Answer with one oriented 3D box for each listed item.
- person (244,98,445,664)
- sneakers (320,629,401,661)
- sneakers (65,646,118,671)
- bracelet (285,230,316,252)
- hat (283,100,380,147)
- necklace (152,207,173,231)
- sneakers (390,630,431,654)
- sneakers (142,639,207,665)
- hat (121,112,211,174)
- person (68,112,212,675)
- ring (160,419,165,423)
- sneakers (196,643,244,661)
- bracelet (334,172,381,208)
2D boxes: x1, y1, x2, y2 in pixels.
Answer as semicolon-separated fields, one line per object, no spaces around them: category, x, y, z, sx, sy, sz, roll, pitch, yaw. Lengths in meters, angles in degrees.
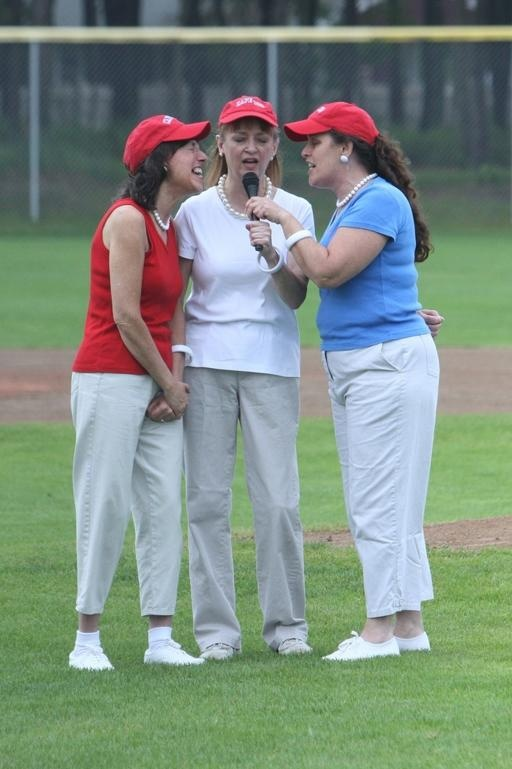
person;0.362;-0.016;5.472;0.544;1.924;0.470;0;10;6
sneakers;0.374;0.918;5.480;0.290;0.112;0.102;-5;-10;5
sneakers;-0.576;0.942;5.372;0.130;0.074;0.057;3;-31;7
bracelet;0.171;-0.507;5.414;0.087;0.073;0.162;5;11;30
hat;0.268;-0.911;5.438;0.257;0.114;0.167;4;4;0
necklace;-0.331;-0.583;5.480;0.021;0.066;0.048;-34;-1;21
sneakers;0.560;0.911;5.524;0.110;0.045;0.058;3;9;1
sneakers;-0.291;0.943;5.497;0.227;0.102;0.083;-2;1;-1
hat;-0.320;-0.874;5.507;0.280;0.148;0.180;-30;6;10
person;-0.410;0.025;5.429;0.502;1.892;0.476;-1;9;-2
ring;-0.330;0.125;5.488;0.013;0.018;0.009;-1;38;0
sneakers;-0.125;0.956;5.592;0.110;0.045;0.057;7;-8;-41
bracelet;0.353;-0.675;5.443;0.126;0.027;0.102;-44;3;-12
